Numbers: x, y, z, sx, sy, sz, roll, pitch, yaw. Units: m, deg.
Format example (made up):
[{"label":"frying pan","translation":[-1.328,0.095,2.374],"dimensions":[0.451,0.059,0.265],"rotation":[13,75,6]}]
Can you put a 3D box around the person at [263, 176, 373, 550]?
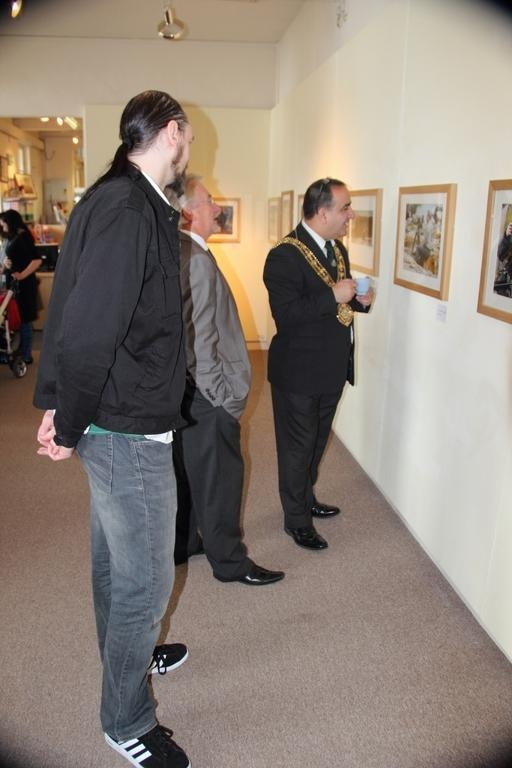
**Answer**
[{"label":"person","translation":[0.324,-0.075,2.635],"dimensions":[0.552,1.723,0.498],"rotation":[-12,16,-43]}]

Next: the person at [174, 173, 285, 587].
[{"label":"person","translation":[-0.239,0.059,2.227],"dimensions":[0.420,1.681,0.457],"rotation":[-1,17,-24]}]

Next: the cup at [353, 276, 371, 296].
[{"label":"cup","translation":[0.494,-0.455,2.486],"dimensions":[0.067,0.090,0.086],"rotation":[-2,4,-1]}]
